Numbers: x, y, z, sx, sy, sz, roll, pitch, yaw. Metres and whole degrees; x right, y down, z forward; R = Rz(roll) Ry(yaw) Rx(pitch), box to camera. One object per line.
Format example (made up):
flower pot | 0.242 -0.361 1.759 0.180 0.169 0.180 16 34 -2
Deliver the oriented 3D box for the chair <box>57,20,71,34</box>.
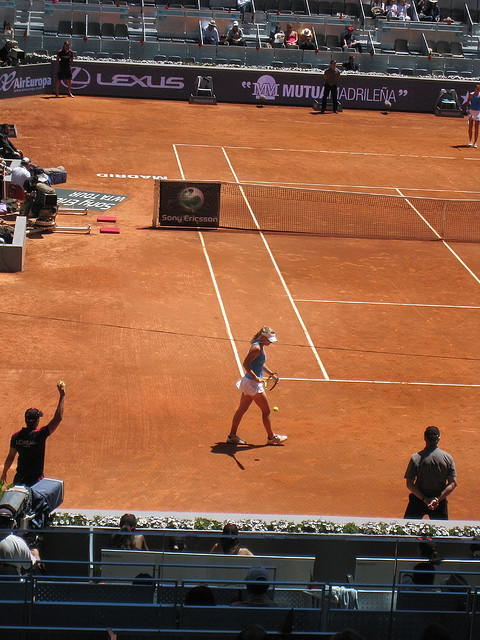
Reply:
chair | -8.455 -14.204 36.131 0.601 0.664 0.336 -1 8 -10

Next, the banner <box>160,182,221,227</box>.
banner | -1.368 -3.161 19.932 1.501 0.885 0.191 0 19 -4

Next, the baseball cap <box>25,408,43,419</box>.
baseball cap | -2.150 0.964 7.827 0.122 0.092 0.176 10 23 22

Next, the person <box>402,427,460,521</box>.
person | 1.979 1.620 7.824 0.513 1.069 0.451 2 8 13

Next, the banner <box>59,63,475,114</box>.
banner | 0.911 -11.038 35.525 18.253 1.630 1.057 -1 8 -8

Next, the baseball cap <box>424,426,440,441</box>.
baseball cap | 1.961 1.150 7.738 0.145 0.163 0.170 5 31 8

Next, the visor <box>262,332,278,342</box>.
visor | 0.382 0.213 9.785 0.186 0.058 0.110 23 11 17

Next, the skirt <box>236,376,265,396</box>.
skirt | 0.134 0.850 9.840 0.322 0.270 0.201 0 8 2

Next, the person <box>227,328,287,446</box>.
person | 0.237 0.886 10.128 0.810 1.644 0.899 0 8 2

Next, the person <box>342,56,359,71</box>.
person | 5.379 -12.596 36.543 0.650 0.809 1.472 1 7 10

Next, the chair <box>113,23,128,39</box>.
chair | -5.787 -14.246 36.690 0.724 0.765 0.669 1 34 -2

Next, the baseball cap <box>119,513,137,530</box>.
baseball cap | -0.991 1.774 6.624 0.112 0.108 0.131 4 12 1

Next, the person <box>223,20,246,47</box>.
person | -0.249 -13.899 36.371 1.044 1.282 0.899 0 8 1

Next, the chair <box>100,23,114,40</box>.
chair | -6.431 -14.131 36.300 0.689 0.723 0.350 -3 8 -20

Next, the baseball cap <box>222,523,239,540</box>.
baseball cap | -0.072 1.826 6.491 0.123 0.148 0.081 2 0 12

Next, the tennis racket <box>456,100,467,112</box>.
tennis racket | 10.805 -10.633 36.872 0.585 0.472 0.138 -22 12 -38

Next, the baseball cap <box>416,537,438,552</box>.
baseball cap | 1.579 1.881 6.256 0.120 0.133 0.144 6 40 -12

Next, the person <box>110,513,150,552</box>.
person | -0.961 1.846 6.498 0.350 0.311 0.791 3 -28 -6
